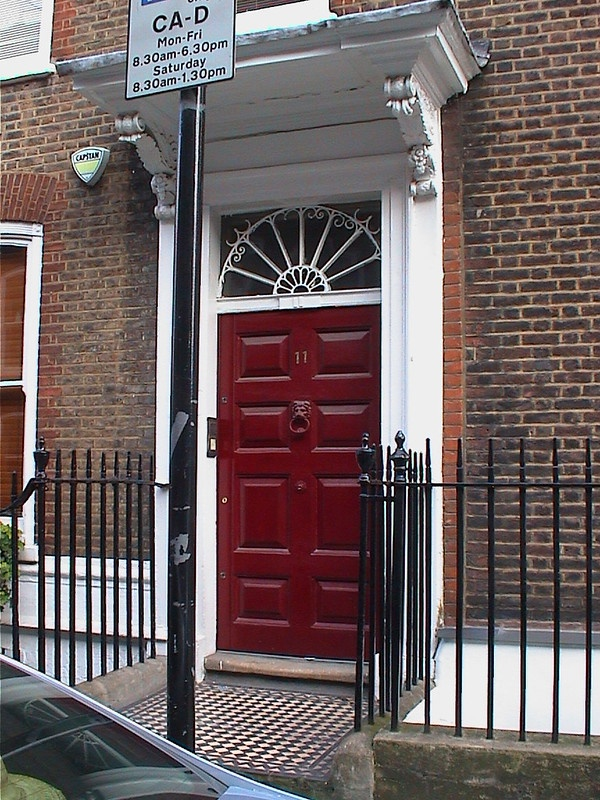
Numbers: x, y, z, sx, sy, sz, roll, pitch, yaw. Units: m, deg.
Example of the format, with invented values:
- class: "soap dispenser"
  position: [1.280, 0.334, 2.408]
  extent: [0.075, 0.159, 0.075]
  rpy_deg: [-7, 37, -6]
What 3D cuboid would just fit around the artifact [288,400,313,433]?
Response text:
- class: "artifact"
  position: [0.008, 0.100, 5.789]
  extent: [0.191, 0.270, 0.082]
  rpy_deg: [0, -6, 16]
